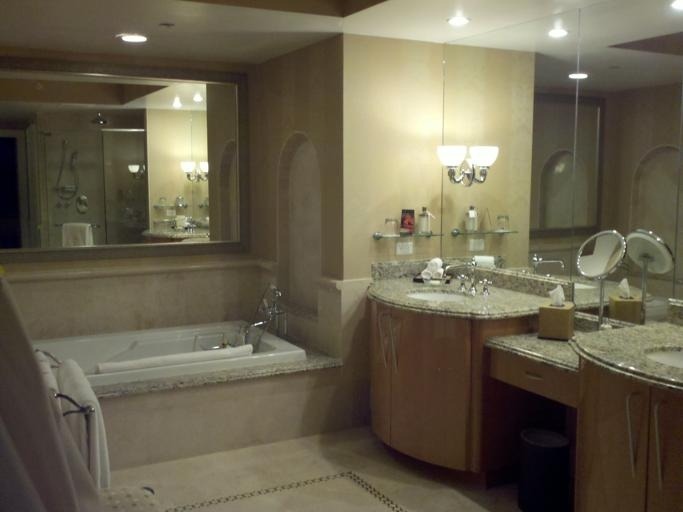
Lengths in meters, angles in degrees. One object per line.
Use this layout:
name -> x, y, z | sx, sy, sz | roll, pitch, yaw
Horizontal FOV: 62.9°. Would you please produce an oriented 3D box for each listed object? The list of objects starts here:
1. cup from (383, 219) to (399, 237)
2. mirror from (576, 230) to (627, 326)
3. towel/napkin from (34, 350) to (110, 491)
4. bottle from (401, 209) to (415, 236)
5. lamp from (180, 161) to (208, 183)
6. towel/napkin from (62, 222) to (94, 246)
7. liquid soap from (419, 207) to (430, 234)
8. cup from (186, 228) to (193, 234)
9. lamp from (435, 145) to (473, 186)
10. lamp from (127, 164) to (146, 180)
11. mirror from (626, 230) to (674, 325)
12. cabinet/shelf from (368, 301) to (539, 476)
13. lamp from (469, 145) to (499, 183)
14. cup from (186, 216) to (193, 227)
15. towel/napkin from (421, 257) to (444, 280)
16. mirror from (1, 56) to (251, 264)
cup -> 0.351, -0.196, 3.985 | 0.114, 0.182, 0.127 | 0, 1, 27
mirror -> 1.434, 0.201, 3.123 | 0.141, 0.666, 0.255 | 0, 2, -30
towel/napkin -> -1.003, 0.603, 2.091 | 0.200, 0.495, 0.784 | -5, 10, -29
bottle -> 0.480, -0.241, 4.012 | 0.121, 0.175, 0.106 | -2, 8, -10
lamp -> -1.222, -0.707, 4.688 | 0.207, 0.171, 0.163 | -1, -3, -21
towel/napkin -> -2.051, -0.161, 4.335 | 0.170, 0.168, 0.178 | 0, 0, -10
liquid soap -> 0.599, -0.254, 4.056 | 0.078, 0.184, 0.076 | -3, 9, -21
cup -> -1.271, -0.210, 4.675 | 0.066, 0.069, 0.038 | -1, 16, -12
lamp -> 0.803, -0.621, 3.949 | 0.267, 0.345, 0.222 | -3, 1, -33
lamp -> -1.652, -0.683, 4.507 | 0.088, 0.155, 0.118 | 8, 11, 37
mirror -> 1.605, 0.112, 2.933 | 0.055, 0.477, 0.242 | -4, 9, -25
cabinet/shelf -> 0.555, 0.747, 3.677 | 0.641, 1.069, 1.025 | -8, 11, -36
lamp -> 0.981, -0.633, 3.885 | 0.202, 0.286, 0.229 | 0, 4, -17
cup -> -1.274, -0.285, 4.667 | 0.049, 0.101, 0.052 | 0, 7, 0
towel/napkin -> 0.647, 0.102, 3.933 | 0.125, 0.133, 0.171 | -9, -1, 30
mirror -> -1.784, -0.780, 4.411 | 1.455, 1.099, 0.033 | -7, 13, -24
